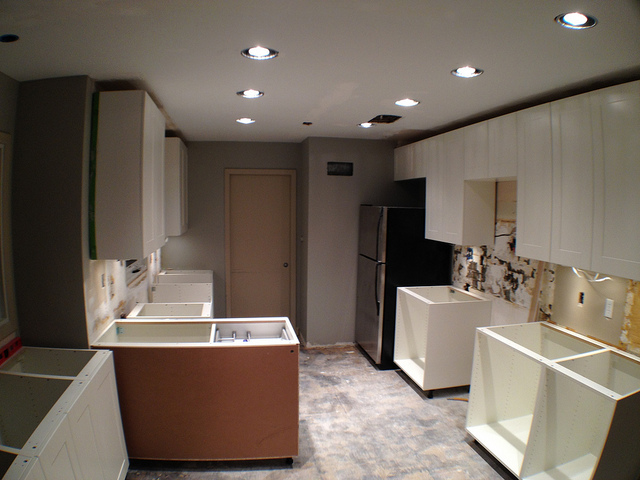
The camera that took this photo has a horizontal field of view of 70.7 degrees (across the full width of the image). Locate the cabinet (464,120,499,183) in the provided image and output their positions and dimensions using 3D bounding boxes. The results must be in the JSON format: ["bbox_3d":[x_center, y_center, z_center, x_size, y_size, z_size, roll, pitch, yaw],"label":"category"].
[{"bbox_3d":[1.408,-0.808,4.132,0.239,0.481,0.317,-11,10,-37],"label":"cabinet"}]

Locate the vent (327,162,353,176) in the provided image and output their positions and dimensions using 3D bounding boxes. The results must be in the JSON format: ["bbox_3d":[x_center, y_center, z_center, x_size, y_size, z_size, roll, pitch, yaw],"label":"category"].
[{"bbox_3d":[0.242,-0.829,5.215,0.269,0.154,0.066,1,10,-9],"label":"vent"}]

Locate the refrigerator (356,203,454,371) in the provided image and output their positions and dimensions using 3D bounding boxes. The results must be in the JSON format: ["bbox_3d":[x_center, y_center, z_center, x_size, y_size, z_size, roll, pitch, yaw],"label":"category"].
[{"bbox_3d":[0.904,0.512,4.991,1.042,1.748,0.565,2,6,12],"label":"refrigerator"}]

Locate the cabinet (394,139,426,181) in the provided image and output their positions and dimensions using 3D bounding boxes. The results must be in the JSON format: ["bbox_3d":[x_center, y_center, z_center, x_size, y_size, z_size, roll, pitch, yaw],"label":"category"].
[{"bbox_3d":[0.964,-0.900,5.165,0.532,0.370,0.296,-13,16,-26],"label":"cabinet"}]
